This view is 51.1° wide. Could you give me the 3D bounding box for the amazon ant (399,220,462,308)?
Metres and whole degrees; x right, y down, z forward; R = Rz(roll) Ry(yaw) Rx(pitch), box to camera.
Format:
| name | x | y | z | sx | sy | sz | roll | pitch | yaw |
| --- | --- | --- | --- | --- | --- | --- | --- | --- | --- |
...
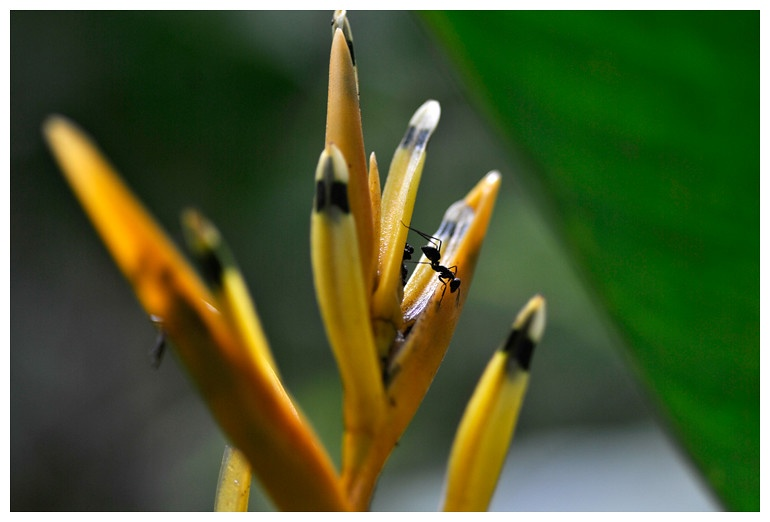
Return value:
| name | x | y | z | sx | sy | sz | roll | pitch | yaw |
| --- | --- | --- | --- | --- | --- | --- | --- | --- | --- |
| amazon ant | 0.060 | 0.011 | 0.945 | 0.025 | 0.090 | 0.064 | -30 | -12 | 5 |
